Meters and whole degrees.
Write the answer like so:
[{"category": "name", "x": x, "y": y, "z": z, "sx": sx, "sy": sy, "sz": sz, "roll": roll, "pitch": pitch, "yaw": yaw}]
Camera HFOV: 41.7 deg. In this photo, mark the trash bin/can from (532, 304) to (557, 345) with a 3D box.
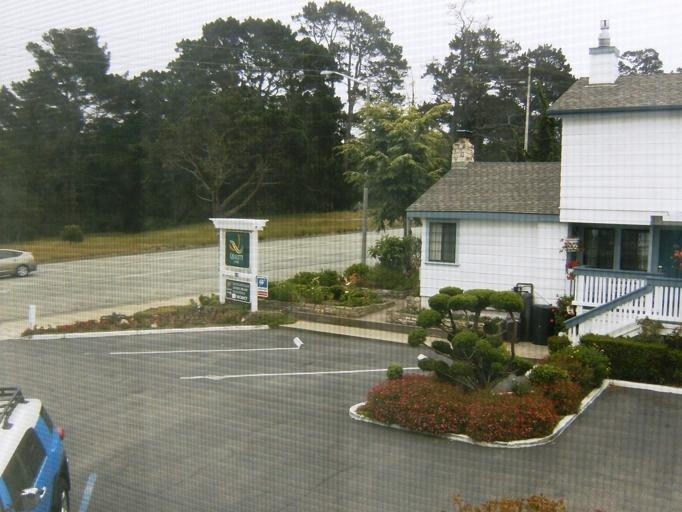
[{"category": "trash bin/can", "x": 3.804, "y": 1.335, "z": 16.880, "sx": 0.394, "sy": 0.697, "sz": 0.422, "roll": 4, "pitch": 2, "yaw": 24}]
